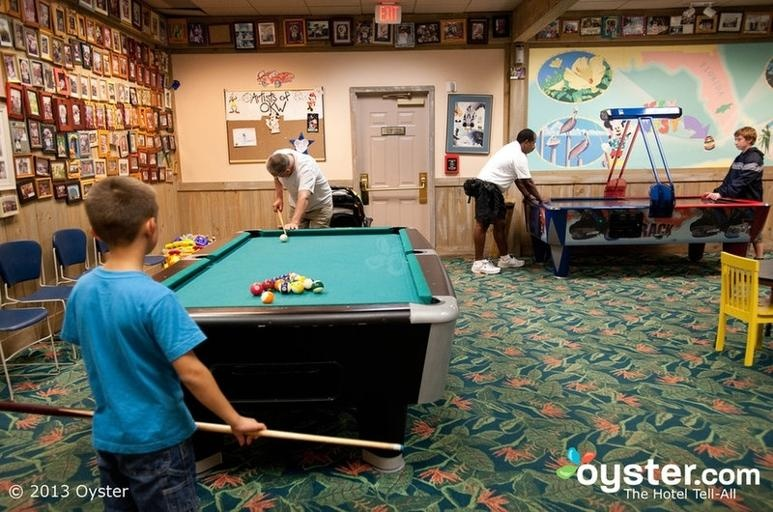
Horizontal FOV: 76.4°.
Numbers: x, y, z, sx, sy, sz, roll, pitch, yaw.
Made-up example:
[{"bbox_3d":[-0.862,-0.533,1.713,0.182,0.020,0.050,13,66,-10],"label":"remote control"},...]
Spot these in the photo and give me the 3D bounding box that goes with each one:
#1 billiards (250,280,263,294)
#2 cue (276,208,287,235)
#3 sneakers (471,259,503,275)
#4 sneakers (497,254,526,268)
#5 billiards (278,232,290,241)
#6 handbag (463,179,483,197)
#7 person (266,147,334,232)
[{"bbox_3d":[-0.785,0.189,3.016,0.072,0.069,0.072,-1,12,-40],"label":"billiards"},{"bbox_3d":[-1.195,-0.419,5.644,0.130,0.094,0.780,9,26,-18],"label":"cue"},{"bbox_3d":[1.342,0.137,6.588,0.330,0.139,0.194,-1,8,0],"label":"sneakers"},{"bbox_3d":[1.745,0.058,6.836,0.375,0.166,0.172,-2,11,-7],"label":"sneakers"},{"bbox_3d":[-0.901,-0.178,4.353,0.093,0.085,0.087,-3,3,-4],"label":"billiards"},{"bbox_3d":[1.168,-0.949,6.690,0.205,0.265,0.265,0,5,0],"label":"handbag"},{"bbox_3d":[-0.930,-0.713,5.280,0.553,0.884,1.093,-1,11,2],"label":"person"}]
